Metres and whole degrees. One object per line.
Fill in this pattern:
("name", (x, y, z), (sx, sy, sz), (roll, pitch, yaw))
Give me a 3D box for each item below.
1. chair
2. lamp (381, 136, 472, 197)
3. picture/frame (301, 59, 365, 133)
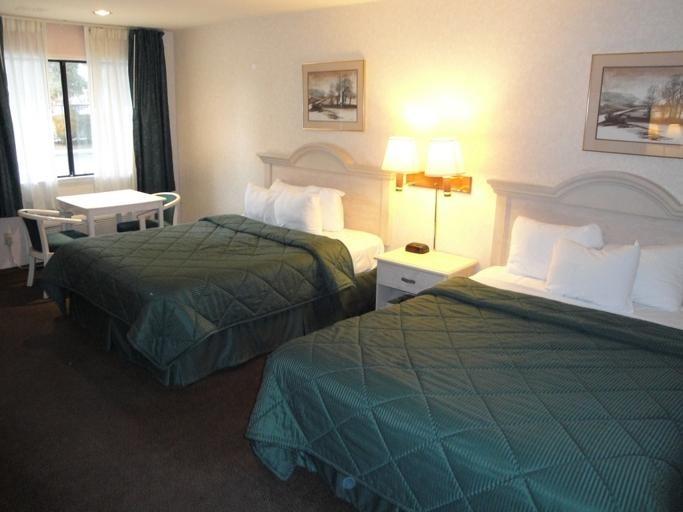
("chair", (-2.873, -0.176, 6.207), (1.793, 1.202, 1.042), (-13, 20, -41))
("lamp", (0.775, -0.809, 4.677), (0.821, 0.544, 0.467), (13, 24, 43))
("picture/frame", (-0.061, -1.704, 5.333), (0.772, 0.688, 0.030), (11, 18, 37))
